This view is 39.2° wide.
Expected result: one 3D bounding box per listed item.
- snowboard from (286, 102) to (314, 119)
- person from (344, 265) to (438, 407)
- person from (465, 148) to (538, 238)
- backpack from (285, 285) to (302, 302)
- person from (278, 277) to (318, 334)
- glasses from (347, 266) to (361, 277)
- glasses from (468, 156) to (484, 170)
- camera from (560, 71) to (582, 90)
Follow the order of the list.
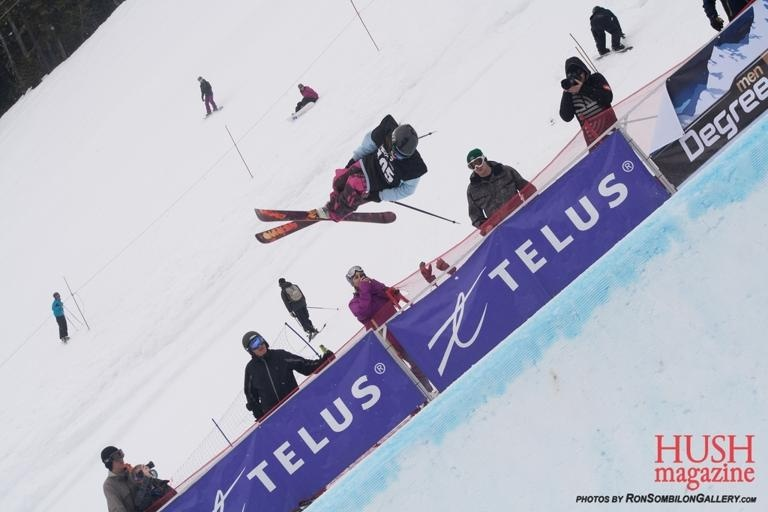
[{"bbox_3d":[-1.776,-3.106,23.377,0.697,0.221,0.194,-36,-32,6],"label":"snowboard"},{"bbox_3d":[0.071,1.347,18.800,0.820,2.677,0.812,-7,-29,-39],"label":"person"},{"bbox_3d":[1.964,-1.202,19.134,1.245,1.890,0.797,5,-12,-4],"label":"person"},{"bbox_3d":[-1.757,0.726,21.149,0.243,0.308,0.116,-28,-1,-16],"label":"backpack"},{"bbox_3d":[-1.676,0.998,21.199,0.416,1.068,0.269,-29,-11,-4],"label":"person"},{"bbox_3d":[-0.527,0.263,19.221,0.221,0.178,0.167,-37,-1,32],"label":"glasses"},{"bbox_3d":[1.642,-1.655,19.202,0.191,0.111,0.233,-29,3,35],"label":"glasses"},{"bbox_3d":[3.392,-3.178,19.501,0.279,0.200,0.319,-18,17,26],"label":"camera"}]
